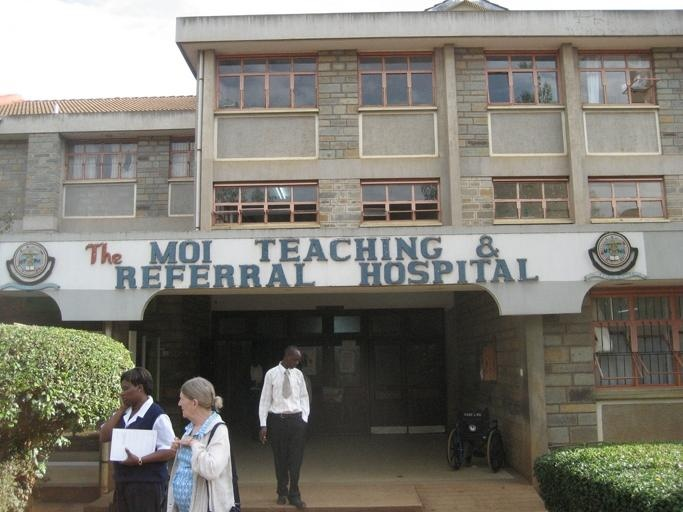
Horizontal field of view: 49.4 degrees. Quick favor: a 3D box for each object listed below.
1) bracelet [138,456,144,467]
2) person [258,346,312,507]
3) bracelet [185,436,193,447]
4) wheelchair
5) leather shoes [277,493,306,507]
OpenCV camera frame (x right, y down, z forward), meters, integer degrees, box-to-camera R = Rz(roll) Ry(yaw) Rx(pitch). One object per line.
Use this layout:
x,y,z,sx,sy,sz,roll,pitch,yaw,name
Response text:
-2.306,2.351,8.508,0.059,0.111,0.068,1,-2,-15,bracelet
-0.916,2.698,11.707,0.769,2.533,0.700,0,-1,-4,person
-1.683,2.025,8.127,0.077,0.046,0.102,-2,-25,-2,bracelet
2.640,3.543,14.380,0.975,1.111,1.567,-3,-4,19,wheelchair
-0.781,3.880,11.841,0.516,0.226,0.179,-3,-9,16,leather shoes
